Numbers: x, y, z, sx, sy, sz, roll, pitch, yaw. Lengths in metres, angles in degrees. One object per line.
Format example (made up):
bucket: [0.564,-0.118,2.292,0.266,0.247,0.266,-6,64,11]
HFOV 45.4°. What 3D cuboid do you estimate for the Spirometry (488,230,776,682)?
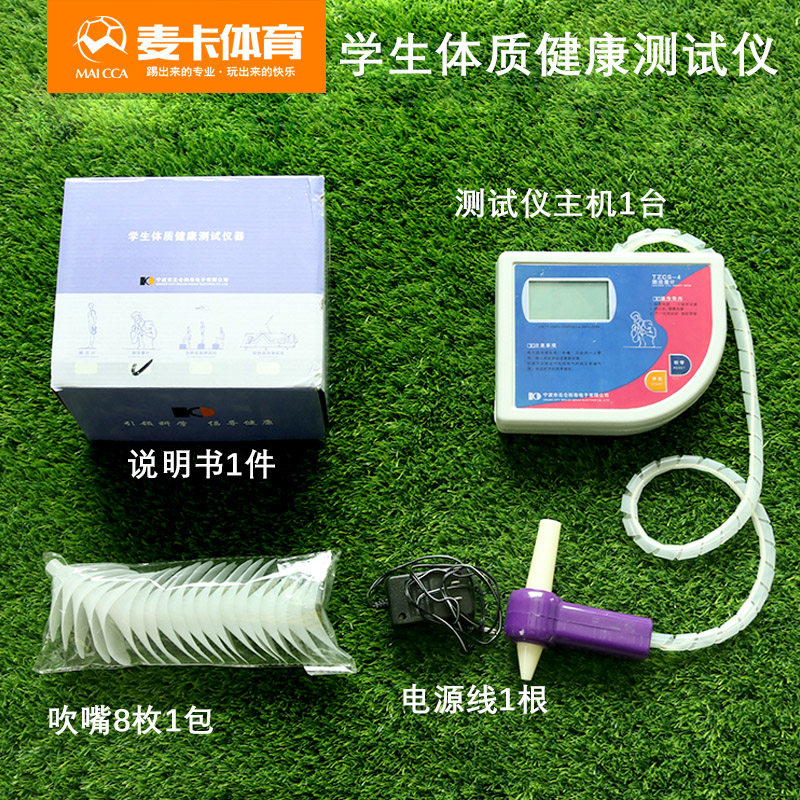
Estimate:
Spirometry: [0.341,0.051,1.399,0.561,0.099,0.608,1,88,2]
